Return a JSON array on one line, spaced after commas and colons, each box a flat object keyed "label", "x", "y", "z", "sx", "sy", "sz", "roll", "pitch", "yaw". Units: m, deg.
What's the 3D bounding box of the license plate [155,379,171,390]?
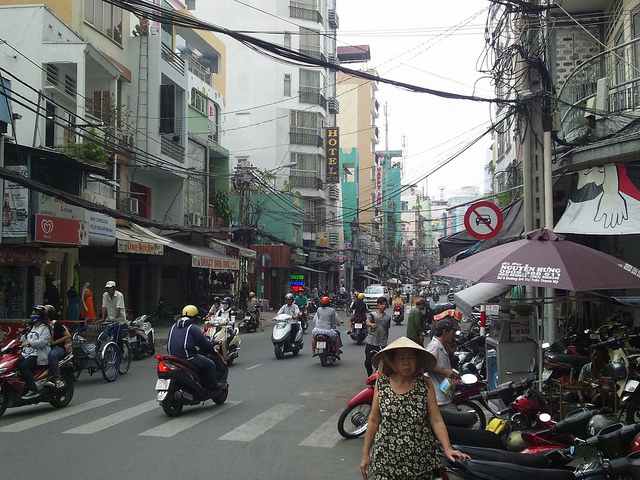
[{"label": "license plate", "x": -3.139, "y": 2.875, "z": 15.117, "sx": 0.328, "sy": 0.198, "sz": 0.217, "roll": -5, "pitch": -9, "yaw": 19}]

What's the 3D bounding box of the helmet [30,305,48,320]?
[{"label": "helmet", "x": -5.810, "y": 1.511, "z": 15.829, "sx": 0.352, "sy": 0.293, "sz": 0.271, "roll": -2, "pitch": -8, "yaw": 1}]

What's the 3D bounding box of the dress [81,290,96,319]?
[{"label": "dress", "x": -7.911, "y": 2.196, "z": 26.036, "sx": 0.429, "sy": 0.995, "sz": 1.379, "roll": 1, "pitch": -9, "yaw": -18}]

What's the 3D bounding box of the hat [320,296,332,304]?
[{"label": "hat", "x": 0.162, "y": 1.671, "z": 21.146, "sx": 0.194, "sy": 0.172, "sz": 0.156, "roll": 4, "pitch": -6, "yaw": 1}]

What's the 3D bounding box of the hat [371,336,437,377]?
[{"label": "hat", "x": 1.197, "y": 1.554, "z": 10.141, "sx": 0.614, "sy": 0.370, "sz": 0.596, "roll": -12, "pitch": -24, "yaw": 34}]

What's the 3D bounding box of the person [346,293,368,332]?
[{"label": "person", "x": 1.151, "y": 2.255, "z": 25.028, "sx": 0.634, "sy": 0.816, "sz": 1.255, "roll": 4, "pitch": 7, "yaw": 9}]

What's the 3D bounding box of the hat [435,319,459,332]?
[{"label": "hat", "x": 2.269, "y": 1.529, "z": 13.628, "sx": 0.263, "sy": 0.236, "sz": 0.563, "roll": -6, "pitch": -10, "yaw": 30}]

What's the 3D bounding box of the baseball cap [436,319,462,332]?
[{"label": "baseball cap", "x": 2.265, "y": 1.568, "z": 13.572, "sx": 0.331, "sy": 0.194, "sz": 0.256, "roll": 4, "pitch": 4, "yaw": -8}]

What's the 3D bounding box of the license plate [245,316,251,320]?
[{"label": "license plate", "x": -2.875, "y": 3.139, "z": 30.589, "sx": 0.181, "sy": 0.138, "sz": 0.107, "roll": 0, "pitch": -9, "yaw": 8}]

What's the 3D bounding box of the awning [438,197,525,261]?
[{"label": "awning", "x": 4.787, "y": -0.070, "z": 22.030, "sx": 2.429, "sy": 1.007, "sz": 1.888, "roll": -11, "pitch": -14, "yaw": 15}]

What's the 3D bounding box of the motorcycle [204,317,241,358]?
[{"label": "motorcycle", "x": -2.691, "y": 2.688, "z": 20.093, "sx": 0.745, "sy": 1.329, "sz": 1.923, "roll": 2, "pitch": -5, "yaw": -1}]

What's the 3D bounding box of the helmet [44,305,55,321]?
[{"label": "helmet", "x": -5.738, "y": 1.501, "z": 16.044, "sx": 0.215, "sy": 0.317, "sz": 0.298, "roll": 4, "pitch": -3, "yaw": 0}]

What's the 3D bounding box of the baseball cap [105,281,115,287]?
[{"label": "baseball cap", "x": -5.743, "y": 1.215, "z": 20.929, "sx": 0.182, "sy": 0.182, "sz": 0.463, "roll": 1, "pitch": -9, "yaw": -16}]

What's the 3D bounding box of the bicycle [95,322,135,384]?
[{"label": "bicycle", "x": -5.328, "y": 2.872, "z": 19.482, "sx": 0.962, "sy": 1.577, "sz": 2.539, "roll": 9, "pitch": -9, "yaw": -9}]

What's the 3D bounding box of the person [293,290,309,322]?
[{"label": "person", "x": -0.680, "y": 2.341, "z": 28.841, "sx": 0.517, "sy": 0.692, "sz": 1.008, "roll": -1, "pitch": -9, "yaw": 3}]

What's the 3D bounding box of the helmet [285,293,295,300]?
[{"label": "helmet", "x": -0.889, "y": 1.737, "z": 23.365, "sx": 0.184, "sy": 0.245, "sz": 0.242, "roll": 1, "pitch": 6, "yaw": -6}]

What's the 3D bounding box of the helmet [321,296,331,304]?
[{"label": "helmet", "x": 0.172, "y": 1.672, "z": 21.139, "sx": 0.188, "sy": 0.162, "sz": 0.152, "roll": 9, "pitch": -8, "yaw": 8}]

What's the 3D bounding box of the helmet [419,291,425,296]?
[{"label": "helmet", "x": 3.682, "y": 1.927, "z": 27.372, "sx": 0.257, "sy": 0.187, "sz": 0.338, "roll": 1, "pitch": -4, "yaw": 19}]

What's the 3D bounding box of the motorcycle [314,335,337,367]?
[{"label": "motorcycle", "x": 0.182, "y": 3.031, "z": 20.854, "sx": 0.570, "sy": 0.852, "sz": 0.386, "roll": 0, "pitch": -7, "yaw": -11}]

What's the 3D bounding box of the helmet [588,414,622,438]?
[{"label": "helmet", "x": 4.074, "y": 2.673, "z": 10.910, "sx": 0.401, "sy": 0.311, "sz": 0.403, "roll": -3, "pitch": -8, "yaw": 6}]

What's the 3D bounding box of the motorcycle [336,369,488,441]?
[{"label": "motorcycle", "x": 1.667, "y": 3.159, "z": 14.140, "sx": 2.709, "sy": 1.856, "sz": 1.384, "roll": 6, "pitch": -7, "yaw": 8}]

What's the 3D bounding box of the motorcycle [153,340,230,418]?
[{"label": "motorcycle", "x": -2.555, "y": 2.755, "z": 15.948, "sx": 0.770, "sy": 1.649, "sz": 2.249, "roll": -4, "pitch": -7, "yaw": 27}]

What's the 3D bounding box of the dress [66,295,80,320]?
[{"label": "dress", "x": -8.189, "y": 2.254, "z": 25.235, "sx": 0.383, "sy": 0.778, "sz": 0.375, "roll": 1, "pitch": -8, "yaw": -18}]

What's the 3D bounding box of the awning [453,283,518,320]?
[{"label": "awning", "x": 3.434, "y": 1.151, "z": 16.239, "sx": 0.867, "sy": 0.364, "sz": 0.976, "roll": -13, "pitch": -6, "yaw": -26}]

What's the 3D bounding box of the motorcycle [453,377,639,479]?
[{"label": "motorcycle", "x": 2.825, "y": 2.909, "z": 10.581, "sx": 2.047, "sy": 1.400, "sz": 1.113, "roll": -5, "pitch": 1, "yaw": -15}]

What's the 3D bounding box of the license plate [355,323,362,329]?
[{"label": "license plate", "x": 1.325, "y": 2.904, "z": 25.716, "sx": 0.233, "sy": 0.186, "sz": 0.289, "roll": -2, "pitch": -8, "yaw": 1}]

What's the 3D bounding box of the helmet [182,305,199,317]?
[{"label": "helmet", "x": -2.681, "y": 1.459, "z": 15.802, "sx": 0.181, "sy": 0.216, "sz": 0.252, "roll": -1, "pitch": -11, "yaw": 23}]

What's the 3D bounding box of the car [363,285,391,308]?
[{"label": "car", "x": 3.343, "y": 3.297, "z": 45.853, "sx": 1.400, "sy": 1.332, "sz": 3.035, "roll": -2, "pitch": -10, "yaw": 11}]

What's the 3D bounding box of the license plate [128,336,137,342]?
[{"label": "license plate", "x": -5.323, "y": 2.820, "z": 21.640, "sx": 0.079, "sy": 0.159, "sz": 0.412, "roll": -5, "pitch": -9, "yaw": 24}]
